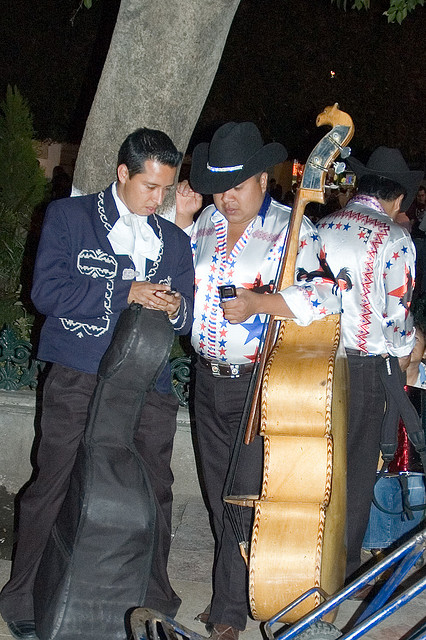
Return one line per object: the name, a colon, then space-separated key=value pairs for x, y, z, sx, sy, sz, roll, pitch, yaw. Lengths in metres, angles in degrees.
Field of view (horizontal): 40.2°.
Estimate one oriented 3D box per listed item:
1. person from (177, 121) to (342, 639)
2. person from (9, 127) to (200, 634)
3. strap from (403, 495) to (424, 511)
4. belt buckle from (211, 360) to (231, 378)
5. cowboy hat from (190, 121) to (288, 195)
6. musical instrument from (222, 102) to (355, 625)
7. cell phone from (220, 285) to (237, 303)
person: x=0.144 y=0.290 z=2.590 sx=0.585 sy=2.278 sz=1.118 roll=1 pitch=15 yaw=-10
person: x=-0.440 y=0.345 z=2.356 sx=0.707 sy=2.189 sz=0.833 roll=3 pitch=15 yaw=-2
strap: x=1.100 y=1.017 z=3.203 sx=0.113 sy=0.093 sz=0.049 roll=7 pitch=15 yaw=14
belt buckle: x=0.030 y=0.217 z=2.610 sx=0.033 sy=0.081 sz=0.063 roll=-2 pitch=19 yaw=-33
cowboy hat: x=0.068 y=-0.672 z=2.463 sx=0.422 sy=0.209 sz=0.322 roll=-34 pitch=23 yaw=-28
musical instrument: x=0.331 y=0.233 z=2.091 sx=0.530 sy=1.725 sz=0.904 roll=4 pitch=15 yaw=2
cell phone: x=0.054 y=-0.103 z=2.210 sx=0.062 sy=0.055 sz=0.098 roll=-4 pitch=21 yaw=-4
